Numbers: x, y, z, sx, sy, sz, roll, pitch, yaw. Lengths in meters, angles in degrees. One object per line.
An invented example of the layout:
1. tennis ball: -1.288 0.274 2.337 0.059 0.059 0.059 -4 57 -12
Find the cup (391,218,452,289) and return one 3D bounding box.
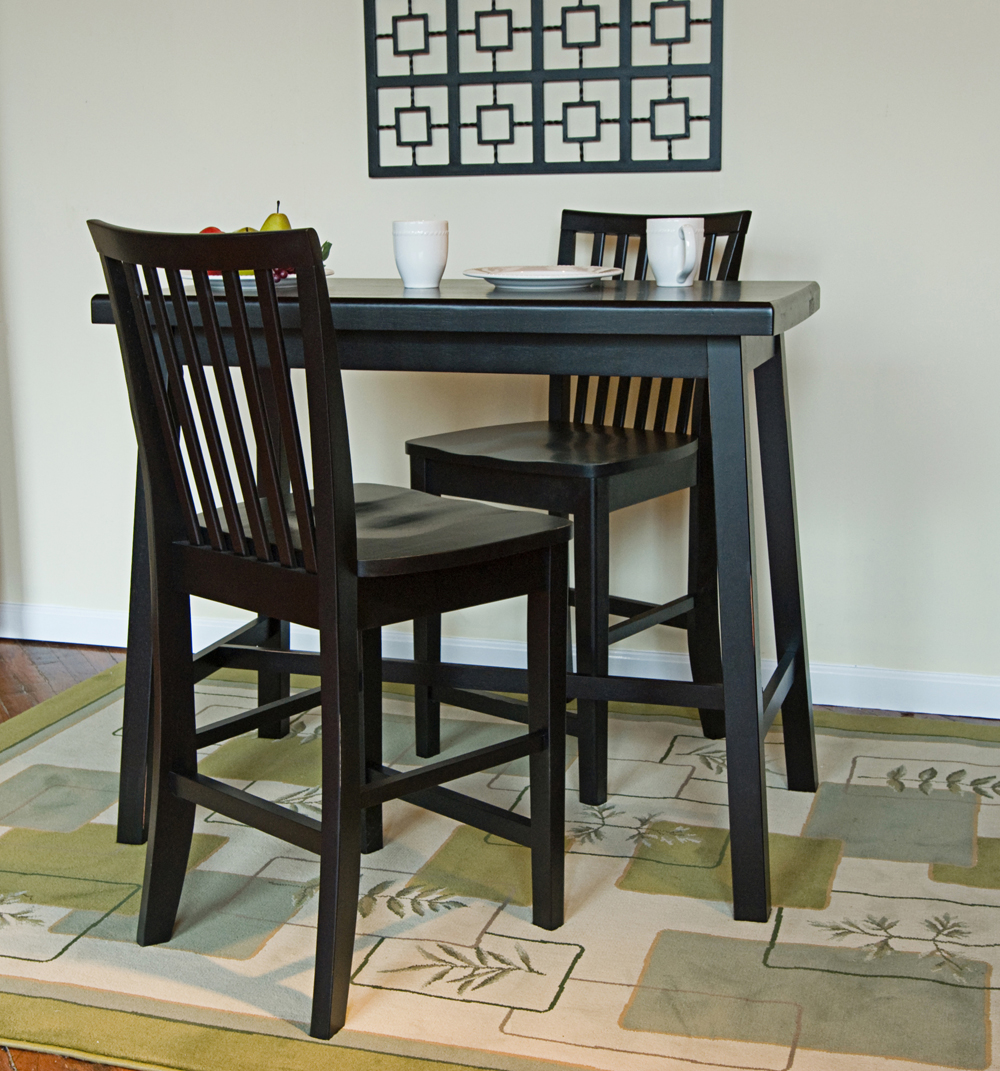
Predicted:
1. cup: -0.127 -0.449 1.654 0.118 0.116 0.111 1 18 0

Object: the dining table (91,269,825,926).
1. dining table: -0.072 -0.018 1.494 0.796 0.575 0.449 9 -13 -8
